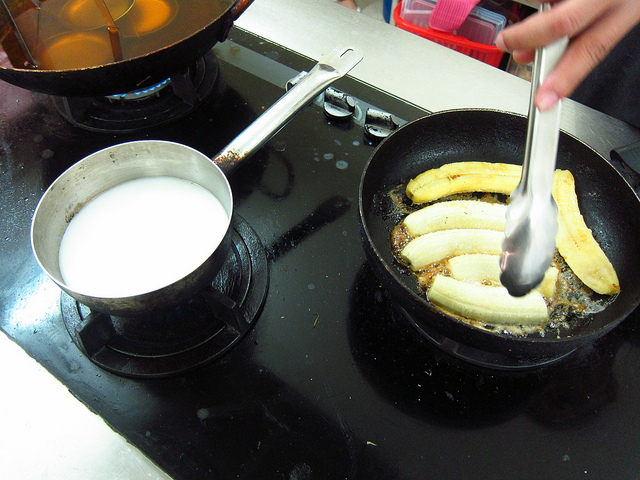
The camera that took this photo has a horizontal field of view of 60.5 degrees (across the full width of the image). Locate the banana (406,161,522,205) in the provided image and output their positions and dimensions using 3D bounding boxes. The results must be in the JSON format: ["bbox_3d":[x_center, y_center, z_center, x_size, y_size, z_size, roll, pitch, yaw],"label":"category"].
[{"bbox_3d":[0.278,-0.104,1.012,0.211,0.074,0.044,-9,99,-1],"label":"banana"}]

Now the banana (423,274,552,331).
[{"bbox_3d":[0.269,0.110,0.868,0.159,0.046,0.099,16,76,1],"label":"banana"}]

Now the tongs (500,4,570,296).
[{"bbox_3d":[0.276,-0.101,0.682,0.063,0.114,0.324,12,65,2],"label":"tongs"}]
